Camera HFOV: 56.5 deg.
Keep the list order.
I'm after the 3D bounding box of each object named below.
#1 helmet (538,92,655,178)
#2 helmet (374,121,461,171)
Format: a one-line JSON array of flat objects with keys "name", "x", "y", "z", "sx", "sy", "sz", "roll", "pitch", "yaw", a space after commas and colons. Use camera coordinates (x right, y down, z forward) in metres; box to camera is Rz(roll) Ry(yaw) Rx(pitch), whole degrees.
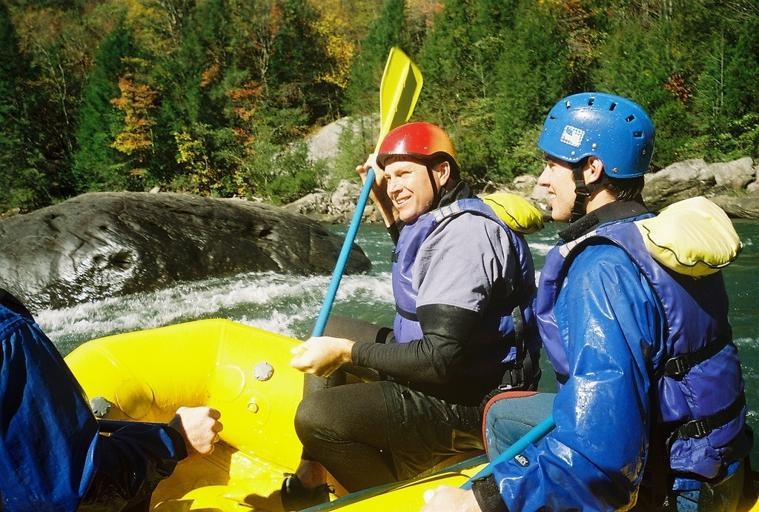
[{"name": "helmet", "x": 1.025, "y": -0.542, "z": 3.319, "sx": 0.474, "sy": 0.381, "sz": 0.389, "roll": 2, "pitch": 7, "yaw": 21}, {"name": "helmet", "x": 0.205, "y": -0.594, "z": 3.764, "sx": 0.299, "sy": 0.191, "sz": 0.250, "roll": -16, "pitch": 10, "yaw": -9}]
